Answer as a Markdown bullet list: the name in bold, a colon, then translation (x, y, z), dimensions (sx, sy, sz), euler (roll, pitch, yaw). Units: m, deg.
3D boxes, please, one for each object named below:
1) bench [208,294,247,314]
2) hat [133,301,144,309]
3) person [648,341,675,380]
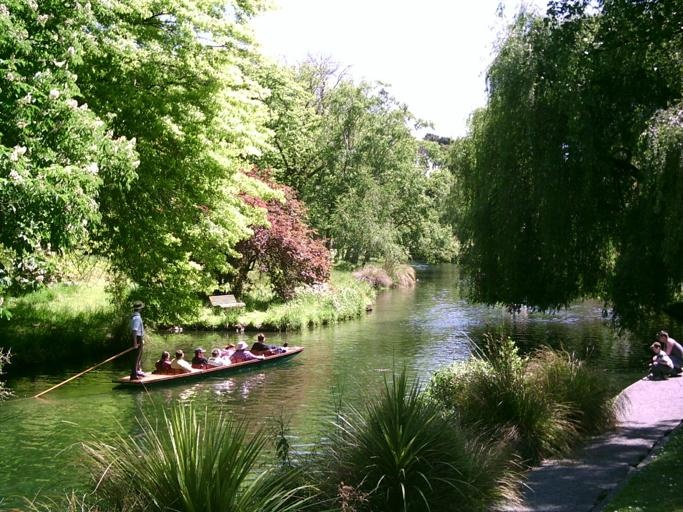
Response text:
- **bench**: translation (-4.339, 1.741, 26.130), dimensions (1.363, 0.654, 1.178), euler (-2, -6, -15)
- **hat**: translation (-4.961, 1.200, 16.785), dimensions (0.198, 0.215, 0.381), euler (-1, -6, -23)
- **person**: translation (7.289, 2.367, 15.575), dimensions (0.720, 0.808, 0.401), euler (1, -6, -42)
